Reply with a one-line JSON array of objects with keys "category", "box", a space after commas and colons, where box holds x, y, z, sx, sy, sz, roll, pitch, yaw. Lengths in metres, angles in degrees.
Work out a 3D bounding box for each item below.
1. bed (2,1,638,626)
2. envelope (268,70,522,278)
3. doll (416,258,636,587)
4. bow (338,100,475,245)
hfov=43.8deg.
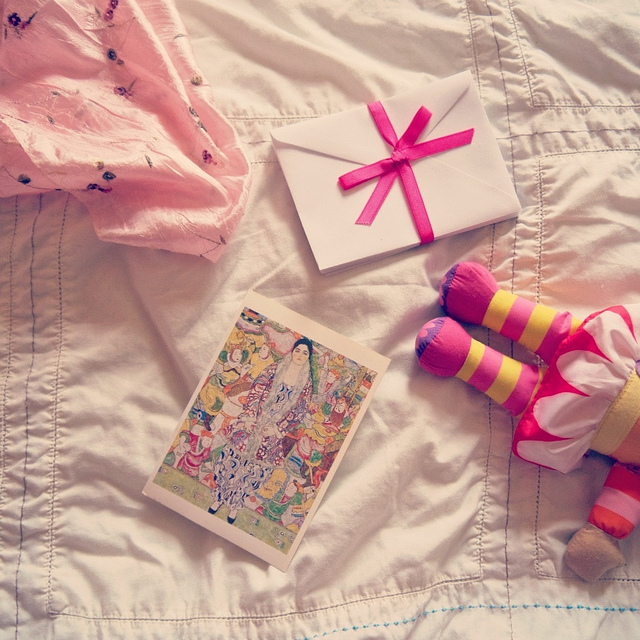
[{"category": "bed", "box": [0.027, -0.040, 1.272, 1.046, 0.552, 0.928, -4, 53, 4]}, {"category": "envelope", "box": [0.124, -0.243, 1.299, 0.363, 0.084, 0.239, -20, 97, -11]}, {"category": "doll", "box": [0.373, 0.120, 1.244, 0.293, 0.296, 0.489, -32, 56, -15]}, {"category": "bow", "box": [0.132, -0.244, 1.267, 0.240, 0.026, 0.221, -26, 86, -3]}]
